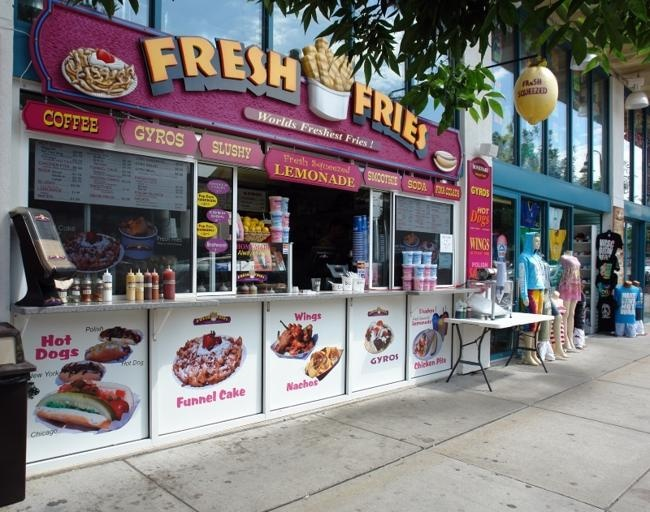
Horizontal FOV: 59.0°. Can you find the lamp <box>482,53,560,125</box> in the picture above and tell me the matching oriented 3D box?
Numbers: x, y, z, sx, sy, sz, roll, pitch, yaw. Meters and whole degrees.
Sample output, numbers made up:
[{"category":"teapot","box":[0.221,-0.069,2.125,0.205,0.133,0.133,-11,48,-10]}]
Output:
[{"category":"lamp","box":[2.084,-1.637,5.728,0.431,0.709,0.423,0,-4,16]}]

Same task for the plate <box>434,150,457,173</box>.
[{"category":"plate","box":[1.558,-1.229,7.491,0.348,0.270,0.123,-3,6,-41]}]

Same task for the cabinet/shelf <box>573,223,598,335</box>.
[{"category":"cabinet/shelf","box":[5.227,0.524,11.474,0.345,2.252,0.444,9,4,-18]}]

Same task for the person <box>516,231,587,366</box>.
[{"category":"person","box":[3.340,0.551,8.672,0.627,2.160,0.698,2,-2,-44]}]

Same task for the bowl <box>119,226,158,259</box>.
[{"category":"bowl","box":[-1.642,-0.084,5.023,0.310,0.241,0.321,0,-4,0]}]

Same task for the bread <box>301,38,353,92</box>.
[{"category":"bread","box":[0.030,-2.033,6.132,0.643,0.522,0.151,-2,5,-40]}]

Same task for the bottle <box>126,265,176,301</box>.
[{"category":"bottle","box":[-1.471,0.238,4.928,0.473,0.284,0.166,-2,5,-40]}]
